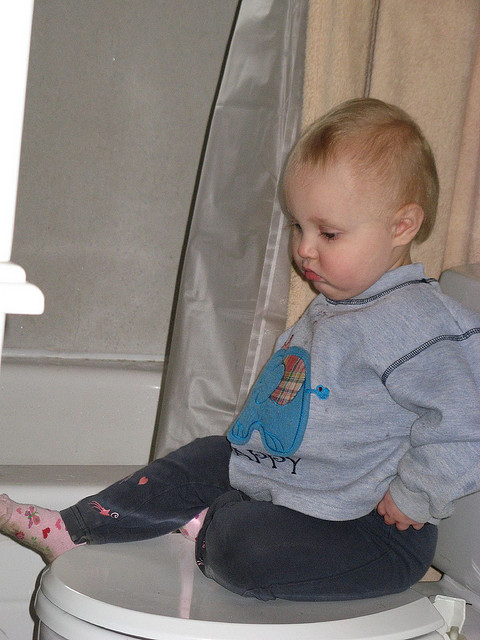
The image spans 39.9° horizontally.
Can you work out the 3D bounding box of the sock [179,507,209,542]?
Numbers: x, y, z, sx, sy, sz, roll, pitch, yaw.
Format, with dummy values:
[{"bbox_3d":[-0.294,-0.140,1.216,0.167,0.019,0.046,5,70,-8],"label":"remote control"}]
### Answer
[{"bbox_3d":[-0.061,0.259,0.832,0.017,0.034,0.025,41,-23,2],"label":"sock"}]
